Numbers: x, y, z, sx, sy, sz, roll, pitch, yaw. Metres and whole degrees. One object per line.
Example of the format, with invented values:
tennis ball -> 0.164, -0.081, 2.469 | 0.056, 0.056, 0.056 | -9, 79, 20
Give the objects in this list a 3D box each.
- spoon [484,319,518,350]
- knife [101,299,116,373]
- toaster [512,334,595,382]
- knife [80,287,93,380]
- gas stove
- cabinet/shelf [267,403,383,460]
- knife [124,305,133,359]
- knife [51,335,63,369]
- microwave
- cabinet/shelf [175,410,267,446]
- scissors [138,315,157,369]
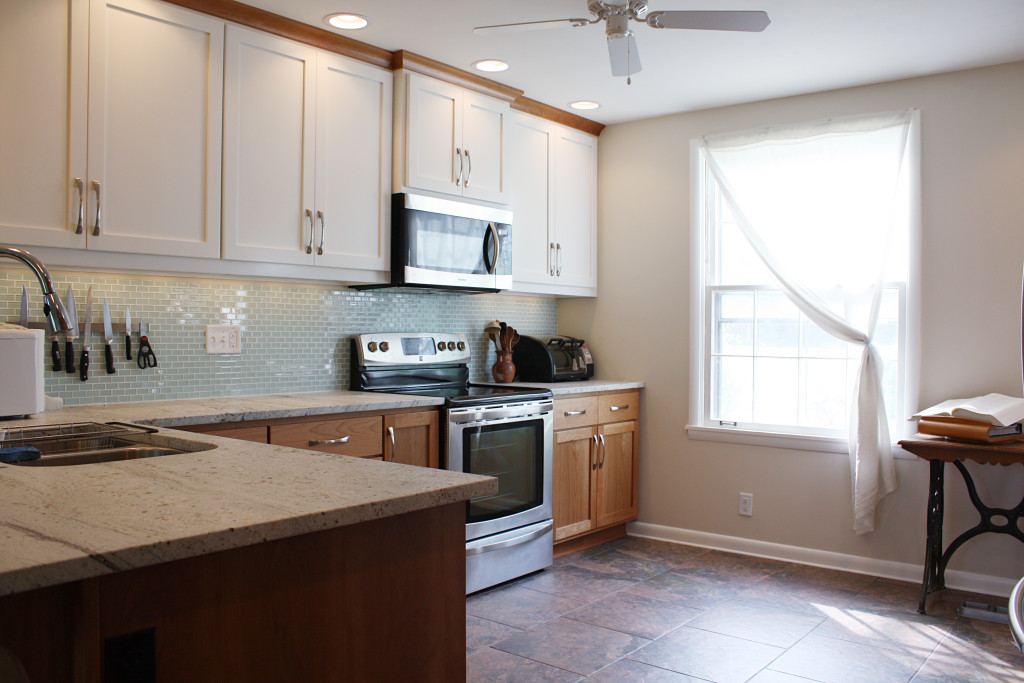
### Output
spoon -> -0.060, -0.034, 4.775 | 0.143, 0.232, 0.041 | 1, 36, 5
knife -> -1.860, -0.019, 3.301 | 0.043, 0.340, 0.070 | -3, 6, -29
toaster -> 0.286, 0.206, 4.978 | 0.335, 0.318, 0.507 | -6, -6, 41
knife -> -1.933, -0.030, 3.243 | 0.049, 0.427, 0.105 | -1, 5, -14
gas stove -> -0.563, 0.138, 4.253 | 0.799, 0.376, 0.171 | -3, 6, -33
cabinet/shelf -> -0.882, 0.369, 3.411 | 0.221, 0.209, 0.372 | -1, -2, 42
knife -> -1.801, -0.036, 3.363 | 0.034, 0.238, 0.048 | -2, 6, -23
knife -> -2.019, 0.054, 3.182 | 0.041, 0.156, 0.045 | 3, 6, 28
microwave -> -0.511, -0.388, 4.217 | 0.540, 0.478, 0.846 | -3, -4, 35
cabinet/shelf -> -1.184, 0.375, 3.079 | 0.136, 0.151, 0.252 | -1, -2, 29
scissors -> -1.733, 0.016, 3.398 | 0.074, 0.231, 0.062 | 0, 5, 1
